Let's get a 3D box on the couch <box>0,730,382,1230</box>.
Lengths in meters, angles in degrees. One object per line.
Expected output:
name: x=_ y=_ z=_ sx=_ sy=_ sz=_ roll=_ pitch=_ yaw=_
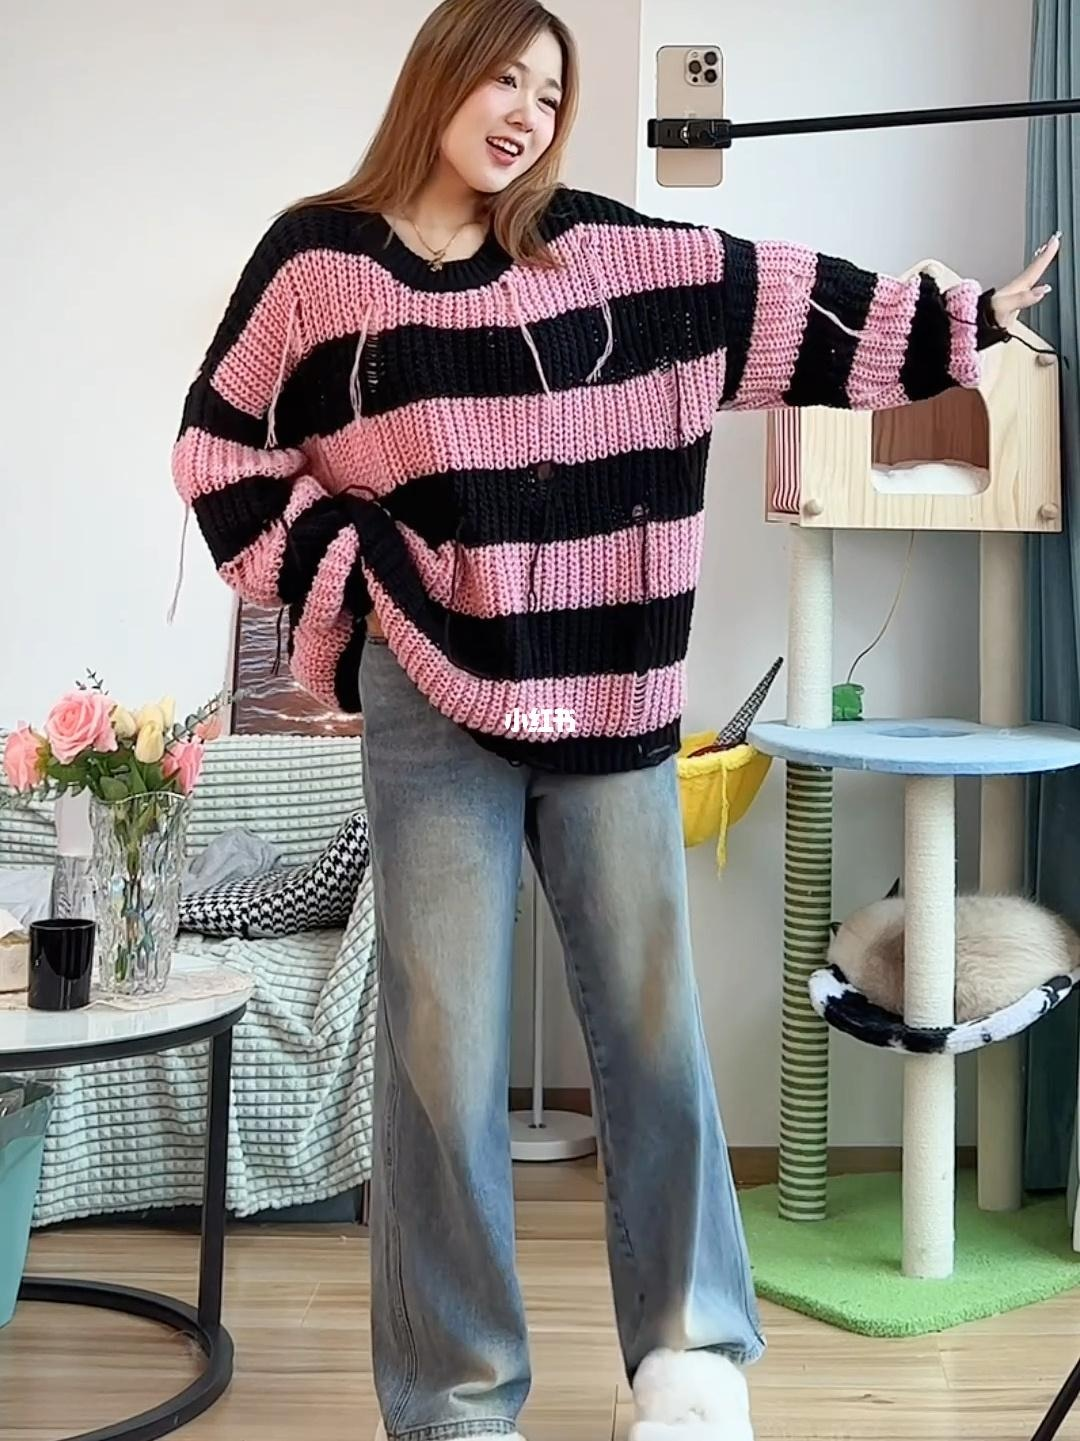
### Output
couch: x=-0.480 y=0.405 z=2.611 sx=0.722 sy=0.651 sz=0.727 roll=1 pitch=-4 yaw=-5

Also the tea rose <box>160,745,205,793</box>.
tea rose: x=-0.429 y=0.065 z=1.843 sx=0.032 sy=0.052 sz=0.052 roll=23 pitch=15 yaw=21

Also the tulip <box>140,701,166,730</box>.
tulip: x=-0.457 y=-0.010 z=1.790 sx=0.029 sy=0.013 sz=0.032 roll=3 pitch=41 yaw=-6

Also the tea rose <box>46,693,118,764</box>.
tea rose: x=-0.523 y=0.006 z=1.746 sx=0.075 sy=0.081 sz=0.038 roll=-19 pitch=-12 yaw=3

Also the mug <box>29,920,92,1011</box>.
mug: x=-0.534 y=0.272 z=1.709 sx=0.072 sy=0.097 sz=0.080 roll=-1 pitch=-3 yaw=-19

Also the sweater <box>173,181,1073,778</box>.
sweater: x=0.024 y=-0.201 z=1.290 sx=0.675 sy=0.491 sz=0.272 roll=-3 pitch=-3 yaw=18

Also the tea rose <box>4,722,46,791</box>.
tea rose: x=-0.612 y=0.047 z=1.823 sx=0.043 sy=0.081 sz=0.101 roll=-1 pitch=-3 yaw=-18

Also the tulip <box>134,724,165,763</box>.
tulip: x=-0.455 y=0.027 z=1.783 sx=0.032 sy=0.045 sz=0.043 roll=-1 pitch=-3 yaw=-15
